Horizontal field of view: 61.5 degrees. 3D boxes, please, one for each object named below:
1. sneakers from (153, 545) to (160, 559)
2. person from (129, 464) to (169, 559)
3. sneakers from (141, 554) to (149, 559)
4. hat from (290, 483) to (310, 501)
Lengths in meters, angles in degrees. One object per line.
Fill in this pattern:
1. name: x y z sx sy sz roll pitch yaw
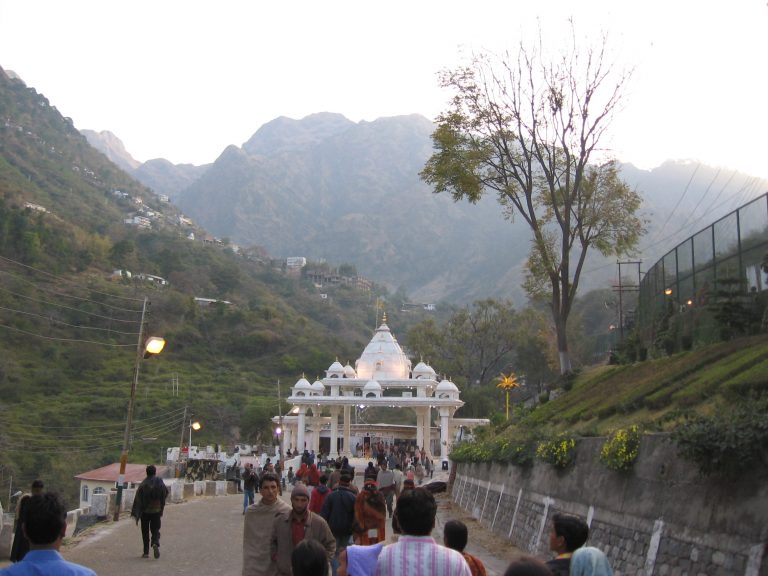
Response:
1. sneakers: -4.105 4.841 11.598 0.082 0.186 0.280 -2 -58 -9
2. person: -4.459 4.262 12.215 0.569 1.672 2.595 5 -17 -17
3. sneakers: -4.335 4.940 11.671 0.133 0.101 0.056 8 1 37
4. hat: -0.984 2.434 7.527 0.170 0.206 0.281 5 -33 -2
